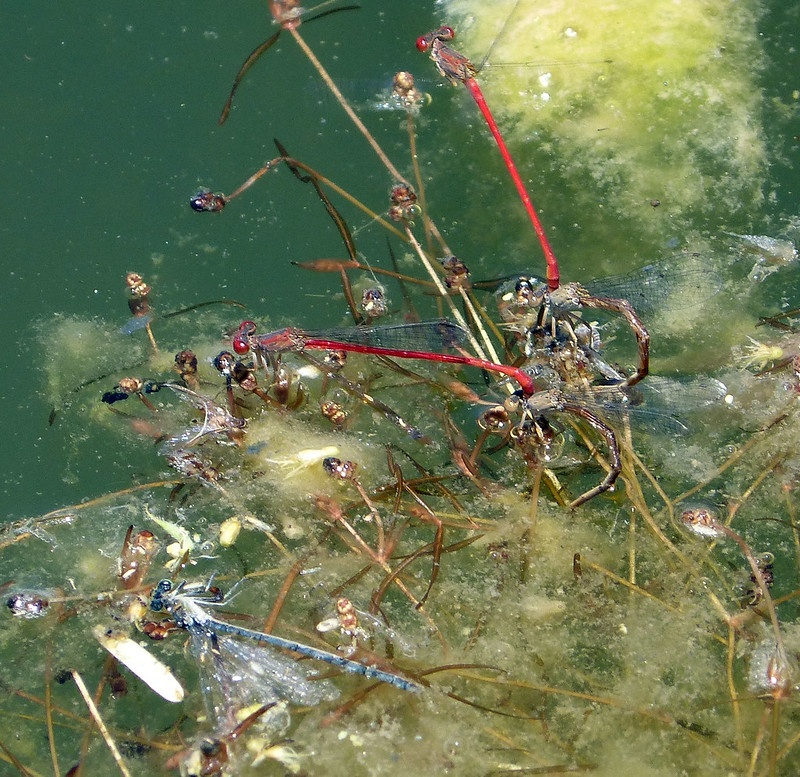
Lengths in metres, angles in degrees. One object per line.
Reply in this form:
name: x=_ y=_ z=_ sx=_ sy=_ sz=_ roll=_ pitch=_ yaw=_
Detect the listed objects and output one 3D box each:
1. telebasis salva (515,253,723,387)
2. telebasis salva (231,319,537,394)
telebasis salva: x=1.226 y=-0.413 z=6.026 sx=0.873 sy=0.402 sz=1.049 roll=4 pitch=53 yaw=6
telebasis salva: x=-0.096 y=-0.294 z=6.203 sx=1.612 sy=0.418 sz=0.541 roll=5 pitch=56 yaw=-5
